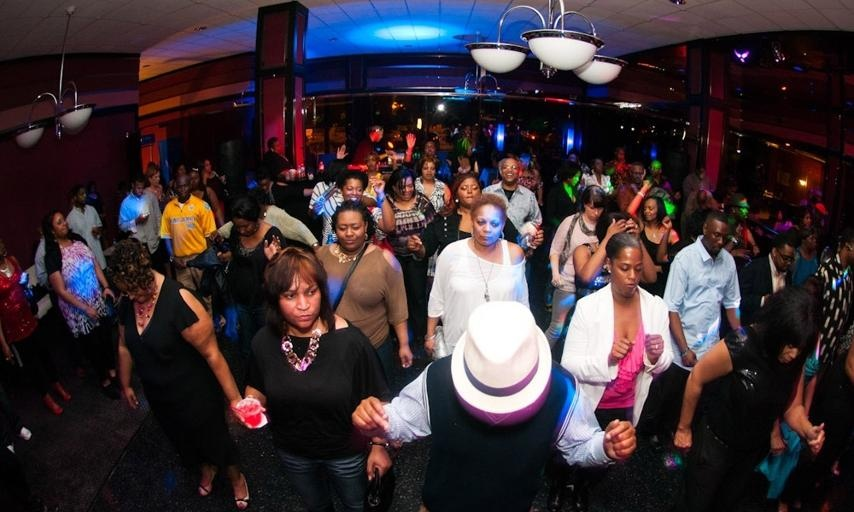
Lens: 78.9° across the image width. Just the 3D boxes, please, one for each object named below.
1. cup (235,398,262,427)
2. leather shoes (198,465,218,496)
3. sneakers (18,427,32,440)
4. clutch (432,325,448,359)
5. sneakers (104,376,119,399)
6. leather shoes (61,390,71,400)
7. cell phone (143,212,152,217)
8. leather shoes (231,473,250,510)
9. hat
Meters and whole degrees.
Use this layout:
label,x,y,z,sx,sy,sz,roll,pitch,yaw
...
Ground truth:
label,x,y,z,sx,sy,sz,roll,pitch,yaw
cup,-1.452,1.266,4.221,0.241,0.230,0.099,-2,12,0
leather shoes,-2.186,2.226,5.218,0.125,0.379,0.149,3,-8,4
sneakers,-4.462,1.965,5.816,0.112,0.131,0.144,4,54,-16
clutch,0.141,0.880,5.390,0.154,0.345,0.307,-2,12,-1
sneakers,-3.841,1.619,6.379,0.111,0.302,0.117,-38,11,-38
leather shoes,-4.389,1.687,6.322,0.060,0.053,0.148,5,9,-42
cell phone,-4.442,-0.667,8.240,0.083,0.044,0.105,-2,15,-30
leather shoes,-1.837,2.300,5.100,0.143,0.407,0.106,-11,13,-6
hat,0.553,0.824,3.745,0.653,0.469,0.893,-2,39,9
